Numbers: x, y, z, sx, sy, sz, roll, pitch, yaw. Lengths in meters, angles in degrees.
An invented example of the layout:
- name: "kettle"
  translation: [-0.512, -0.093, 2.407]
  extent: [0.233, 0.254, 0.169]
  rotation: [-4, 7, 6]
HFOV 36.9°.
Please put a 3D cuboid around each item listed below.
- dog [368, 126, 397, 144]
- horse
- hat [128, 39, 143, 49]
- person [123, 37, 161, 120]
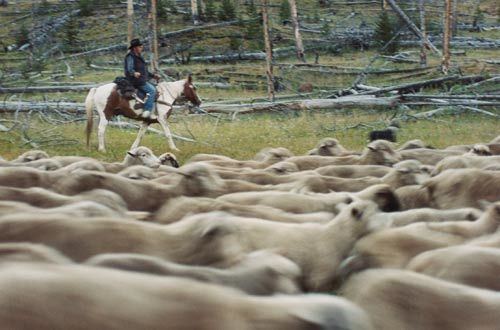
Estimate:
- name: "dog"
  translation: [5.103, -1.151, 28.714]
  extent: [1.149, 0.476, 1.249]
  rotation: [0, 5, 11]
- name: "horse"
  translation: [-4.100, -1.867, 27.741]
  extent: [5.518, 2.587, 1.274]
  rotation: [-4, -2, -44]
- name: "hat"
  translation: [-4.092, -4.262, 26.219]
  extent: [0.518, 0.144, 0.388]
  rotation: [-16, 4, 15]
- name: "person"
  translation: [-3.882, -3.064, 26.554]
  extent: [1.041, 2.820, 0.470]
  rotation: [-2, 17, -7]
